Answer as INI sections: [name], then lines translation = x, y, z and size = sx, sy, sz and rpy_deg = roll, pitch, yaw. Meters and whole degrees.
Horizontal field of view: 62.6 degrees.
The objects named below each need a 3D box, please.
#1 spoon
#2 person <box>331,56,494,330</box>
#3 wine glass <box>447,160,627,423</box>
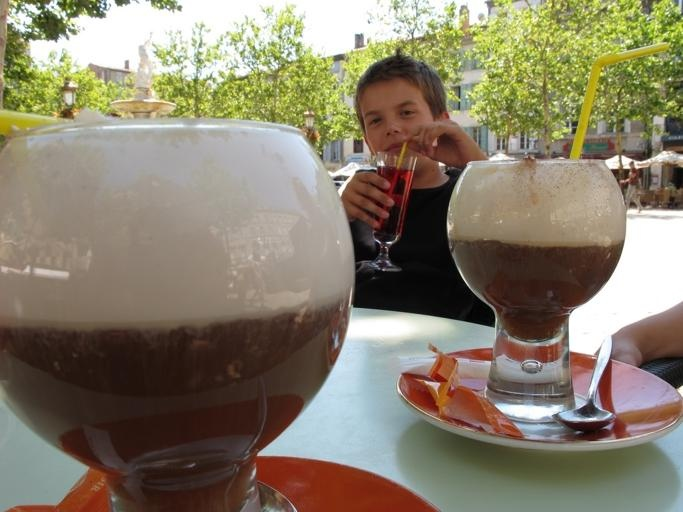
[spoon]
translation = 0.314, 0.158, 0.691
size = 0.058, 0.032, 0.224
rpy_deg = -4, 14, 34
[person]
translation = 0.244, -0.237, 2.230
size = 0.708, 1.079, 0.675
rpy_deg = -1, -2, 10
[wine glass]
translation = 0.254, 0.043, 0.752
size = 0.208, 0.329, 0.218
rpy_deg = 5, 7, 42
